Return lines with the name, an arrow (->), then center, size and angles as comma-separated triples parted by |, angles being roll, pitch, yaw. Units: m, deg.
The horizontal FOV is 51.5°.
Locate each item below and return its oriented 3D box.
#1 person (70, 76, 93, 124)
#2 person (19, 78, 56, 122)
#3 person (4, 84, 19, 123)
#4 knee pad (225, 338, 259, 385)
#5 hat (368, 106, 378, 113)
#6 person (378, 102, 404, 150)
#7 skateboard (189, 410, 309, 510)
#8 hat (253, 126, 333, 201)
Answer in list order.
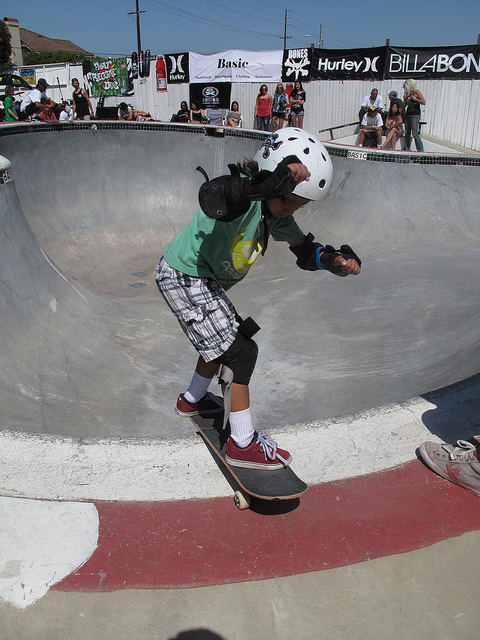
person -> -4.661, -6.442, 14.516 | 0.527, 1.066, 2.308 | -6, 25, -16
person -> -5.604, -6.004, 13.718 | 0.930, 1.181, 0.614 | 12, 36, -10
person -> -6.998, -6.576, 15.042 | 0.366, 0.990, 2.729 | -8, 25, -21
knee pad -> 0.024, 0.188, 2.281 | 0.110, 0.177, 0.200 | 18, 28, 31
hat -> 3.775, -5.966, 14.120 | 0.243, 0.171, 0.210 | 8, -11, -24
person -> 4.274, -5.371, 13.770 | 0.591, 1.169, 0.904 | 8, 25, 13
skateboard -> -0.008, 0.646, 2.351 | 0.228, 0.124, 0.854 | -1, 14, -26
hat -> 0.252, -0.670, 2.159 | 0.290, 0.261, 0.306 | -5, 25, -15
